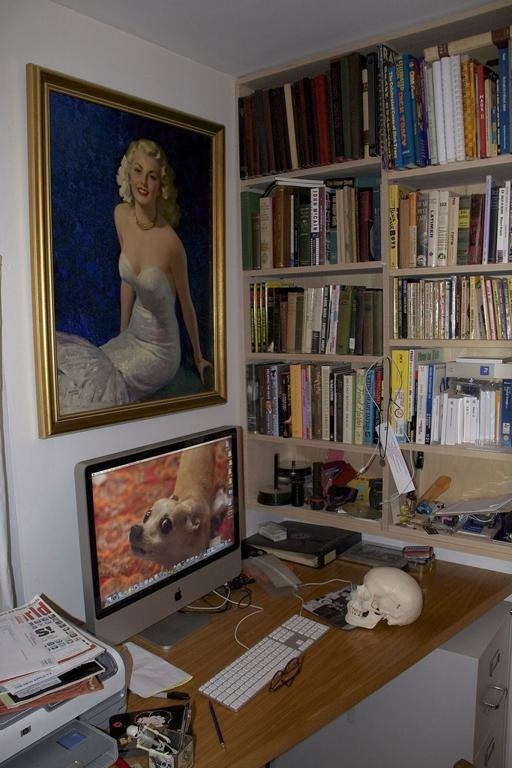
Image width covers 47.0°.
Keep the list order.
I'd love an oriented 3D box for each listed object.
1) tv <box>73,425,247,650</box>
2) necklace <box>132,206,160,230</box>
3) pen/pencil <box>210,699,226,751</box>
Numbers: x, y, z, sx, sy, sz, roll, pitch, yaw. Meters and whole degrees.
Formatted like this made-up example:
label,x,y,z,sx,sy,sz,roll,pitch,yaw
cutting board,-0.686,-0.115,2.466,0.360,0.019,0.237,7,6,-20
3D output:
label,x,y,z,sx,sy,sz,roll,pitch,yaw
tv,-0.252,0.390,1.473,0.166,0.440,0.488,4,9,32
necklace,-0.299,-0.448,1.602,0.048,0.059,0.066,-1,-30,-4
pen/pencil,-0.076,0.660,1.145,0.012,0.011,0.131,-1,10,-14
